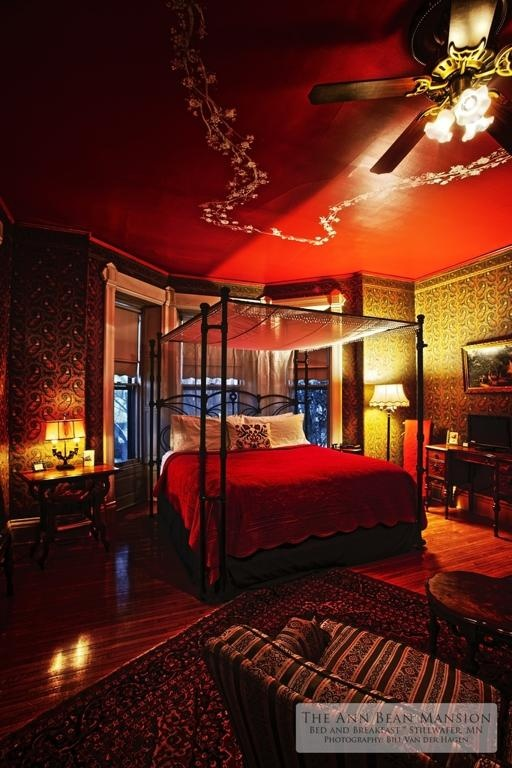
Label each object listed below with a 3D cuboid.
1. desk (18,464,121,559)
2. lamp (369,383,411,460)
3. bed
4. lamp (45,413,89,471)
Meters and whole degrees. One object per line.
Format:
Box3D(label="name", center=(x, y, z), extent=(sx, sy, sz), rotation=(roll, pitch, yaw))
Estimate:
Box3D(label="desk", center=(-1.397, 0.940, 3.862), extent=(0.619, 0.599, 0.316), rotation=(0, 1, -41))
Box3D(label="lamp", center=(1.351, 0.440, 5.356), extent=(0.405, 0.928, 0.403), rotation=(-1, 0, -20))
Box3D(label="bed", center=(0.166, 0.455, 4.466), extent=(1.717, 1.736, 2.242), rotation=(-1, -2, -18))
Box3D(label="lamp", center=(-1.428, 0.435, 3.946), extent=(0.278, 0.392, 0.239), rotation=(2, 4, 14))
